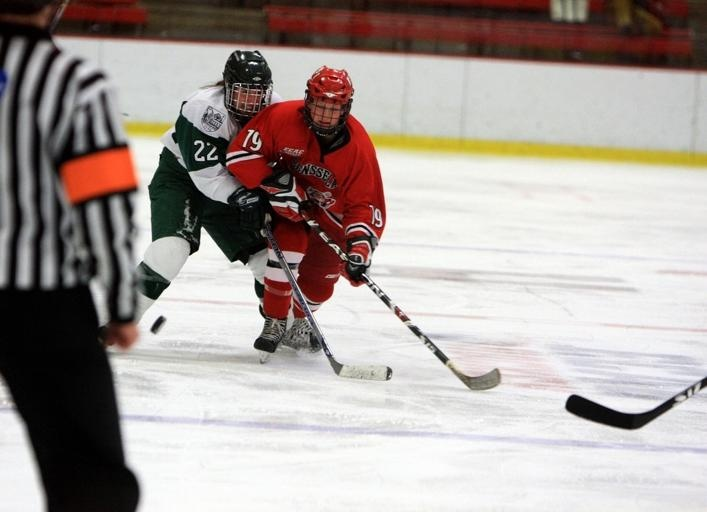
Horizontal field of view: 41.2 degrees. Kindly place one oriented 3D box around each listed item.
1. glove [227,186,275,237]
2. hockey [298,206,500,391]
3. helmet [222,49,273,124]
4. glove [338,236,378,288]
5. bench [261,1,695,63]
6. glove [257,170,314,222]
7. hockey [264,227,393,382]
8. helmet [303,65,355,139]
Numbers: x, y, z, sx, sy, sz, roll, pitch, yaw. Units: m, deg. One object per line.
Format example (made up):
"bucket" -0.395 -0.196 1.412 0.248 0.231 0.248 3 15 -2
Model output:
"glove" -0.396 -0.185 3.662 0.171 0.198 0.188 3 19 -4
"hockey" 0.187 0.200 4.029 1.251 0.097 0.184 36 18 24
"helmet" -0.405 -0.634 3.606 0.162 0.282 0.099 -1 22 -14
"glove" 0.033 0.018 3.553 0.089 0.179 0.131 32 -17 -20
"bench" 1.275 -2.396 10.041 3.521 0.125 0.409 2 33 -9
"glove" -0.262 -0.237 3.632 0.216 0.092 0.170 46 -22 -29
"hockey" -0.118 0.253 3.762 0.235 0.023 0.979 4 20 -20
"helmet" -0.090 -0.579 3.479 0.158 0.241 0.163 8 20 10
